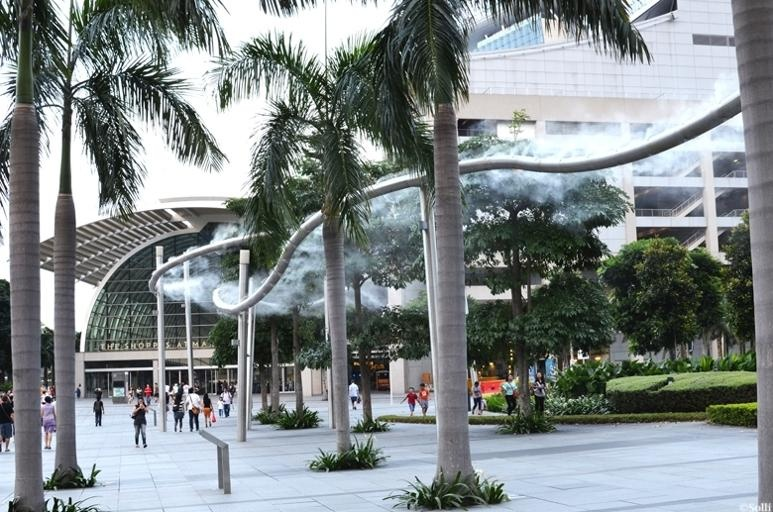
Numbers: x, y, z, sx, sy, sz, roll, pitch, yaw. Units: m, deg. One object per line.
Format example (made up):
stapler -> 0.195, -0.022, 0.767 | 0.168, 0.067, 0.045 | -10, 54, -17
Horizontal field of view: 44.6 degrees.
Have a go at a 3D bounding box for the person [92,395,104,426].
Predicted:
person -> -13.957, 7.493, 45.409 | 0.342, 1.481, 2.586 | -1, -9, -18

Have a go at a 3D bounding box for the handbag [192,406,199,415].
handbag -> -8.263, 6.692, 40.650 | 0.179, 0.273, 0.266 | 6, 3, 0

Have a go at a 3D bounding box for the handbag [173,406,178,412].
handbag -> -9.229, 6.685, 41.134 | 0.203, 0.242, 0.581 | -2, -9, -14
